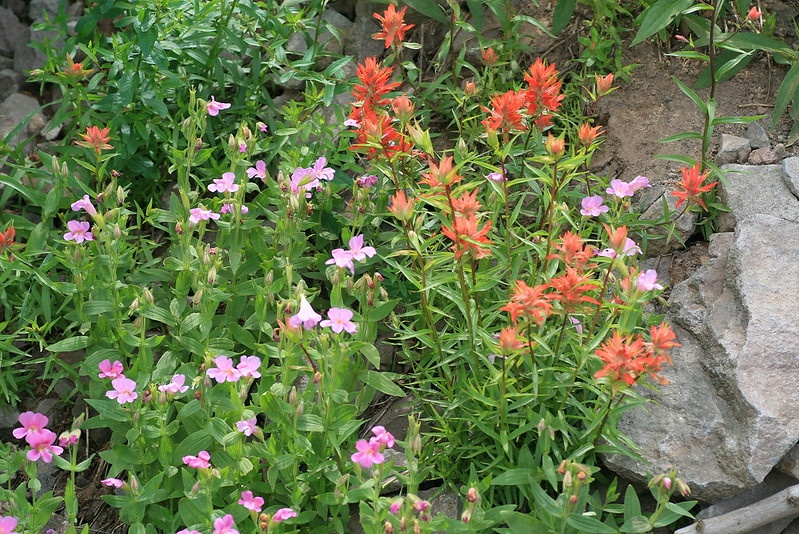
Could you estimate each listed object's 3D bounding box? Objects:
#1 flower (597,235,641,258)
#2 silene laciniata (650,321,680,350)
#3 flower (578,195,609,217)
[{"bbox_3d":[1.018,-0.072,3.558,0.137,0.135,0.076,-6,95,-38],"label":"flower"},{"bbox_3d":[1.128,0.298,3.339,0.070,0.131,0.143,6,70,-38],"label":"silene laciniata"},{"bbox_3d":[0.976,-0.312,3.897,0.117,0.101,0.131,9,67,-6],"label":"flower"}]
